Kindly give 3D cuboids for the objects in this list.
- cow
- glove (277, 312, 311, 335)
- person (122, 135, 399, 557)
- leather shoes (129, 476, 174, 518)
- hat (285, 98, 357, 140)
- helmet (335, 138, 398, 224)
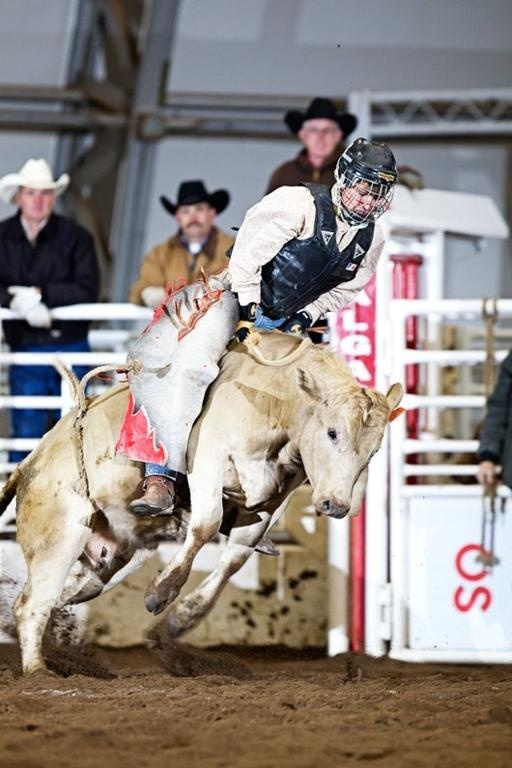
[{"bbox_3d":[-0.222,0.466,4.760,2.352,1.245,0.594,-21,-46,26],"label":"cow"},{"bbox_3d":[0.158,-0.235,4.529,0.124,0.073,0.050,-33,-18,-43],"label":"glove"},{"bbox_3d":[0.006,-0.192,4.372,0.996,1.425,0.602,1,-4,0],"label":"person"},{"bbox_3d":[-0.385,0.417,4.194,0.143,0.145,0.181,1,-4,4],"label":"leather shoes"},{"bbox_3d":[0.432,-1.787,7.334,0.398,0.142,0.408,1,-9,0],"label":"hat"},{"bbox_3d":[0.408,-0.750,4.192,0.207,0.296,0.145,1,-4,8],"label":"helmet"}]
